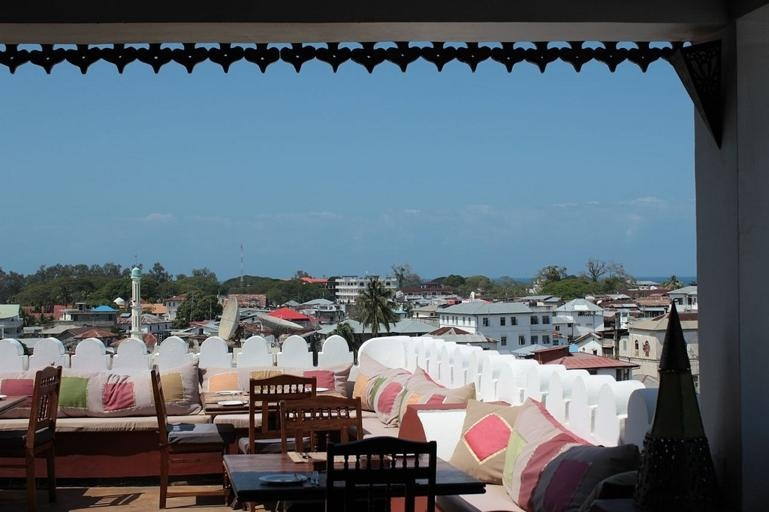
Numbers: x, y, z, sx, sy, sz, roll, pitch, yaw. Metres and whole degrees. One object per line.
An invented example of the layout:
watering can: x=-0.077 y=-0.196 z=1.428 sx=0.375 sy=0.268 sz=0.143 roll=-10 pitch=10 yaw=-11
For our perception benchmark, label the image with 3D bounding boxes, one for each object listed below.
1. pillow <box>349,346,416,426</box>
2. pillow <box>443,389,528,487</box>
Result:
pillow: x=-0.038 y=1.469 z=11.344 sx=0.184 sy=0.549 sz=0.618 roll=16 pitch=-4 yaw=-20
pillow: x=0.846 y=1.548 z=8.885 sx=0.196 sy=0.614 sz=0.621 roll=29 pitch=-19 yaw=-22
